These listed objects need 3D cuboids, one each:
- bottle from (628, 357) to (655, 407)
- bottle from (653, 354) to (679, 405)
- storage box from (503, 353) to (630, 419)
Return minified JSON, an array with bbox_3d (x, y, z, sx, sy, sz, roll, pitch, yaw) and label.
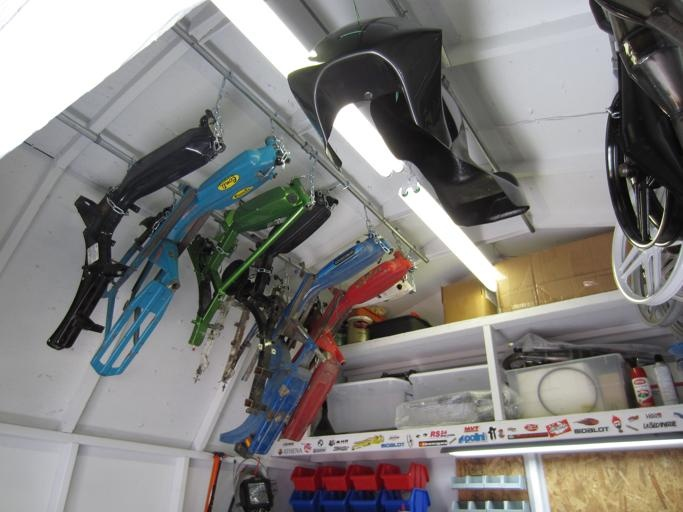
[{"bbox_3d":[1.950,0.828,3.124,0.112,0.336,0.157,-21,-33,32],"label":"bottle"},{"bbox_3d":[2.061,0.816,3.033,0.097,0.272,0.118,-21,-33,31],"label":"bottle"},{"bbox_3d":[1.585,0.864,3.337,0.633,0.288,0.416,-20,-33,34],"label":"storage box"}]
